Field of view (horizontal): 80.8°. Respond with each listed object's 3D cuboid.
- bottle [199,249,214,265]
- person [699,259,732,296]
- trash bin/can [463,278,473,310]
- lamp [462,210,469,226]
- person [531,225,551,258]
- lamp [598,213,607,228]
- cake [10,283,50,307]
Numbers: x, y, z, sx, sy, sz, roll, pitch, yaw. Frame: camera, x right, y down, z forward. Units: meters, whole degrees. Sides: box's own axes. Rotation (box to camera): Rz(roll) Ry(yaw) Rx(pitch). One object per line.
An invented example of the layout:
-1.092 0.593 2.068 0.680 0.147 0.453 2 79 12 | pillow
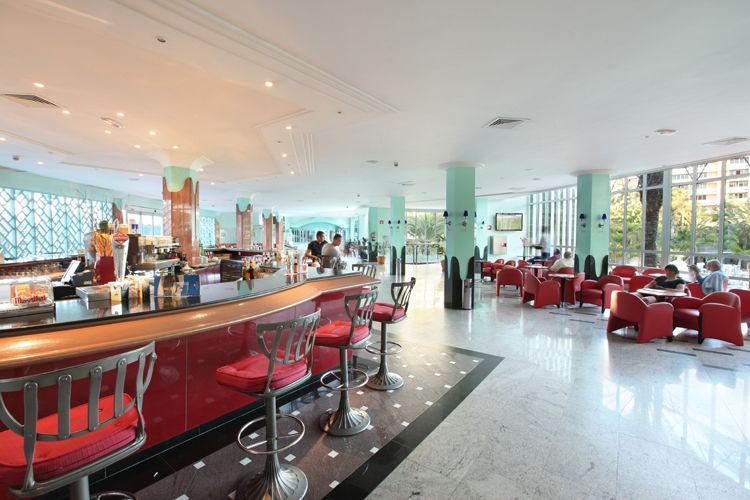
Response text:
-4.459 0.183 11.477 0.327 0.542 0.309 0 10 0 | bottle
6.769 0.560 8.701 0.556 0.719 0.454 -10 9 -31 | person
2.213 1.024 10.471 0.246 0.716 0.224 1 5 7 | trash bin/can
2.172 -0.769 10.578 0.175 0.386 0.068 1 5 4 | lamp
6.790 -0.393 17.739 0.511 1.150 1.175 0 5 -6 | person
6.197 -0.813 11.870 0.239 0.375 0.135 2 5 18 | lamp
-3.654 0.446 4.632 0.340 0.215 0.235 1 0 -25 | cake
